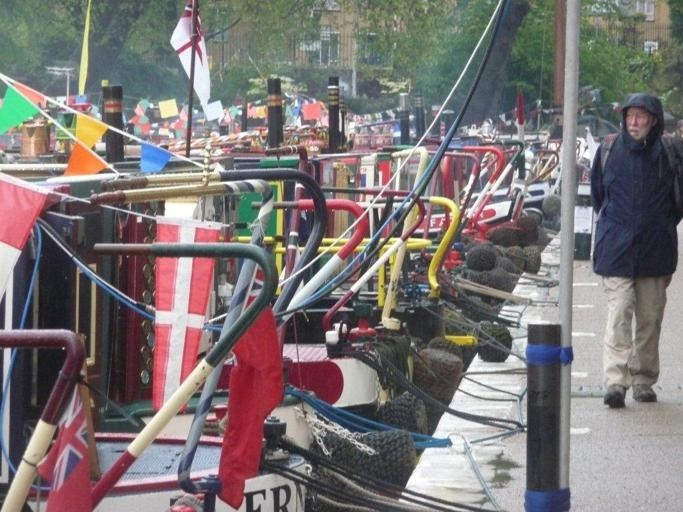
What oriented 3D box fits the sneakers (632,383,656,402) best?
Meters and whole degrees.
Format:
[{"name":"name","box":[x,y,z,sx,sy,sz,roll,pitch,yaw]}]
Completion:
[{"name":"sneakers","box":[3.781,1.704,24.117,0.259,0.277,0.169,5,-18,-2]}]

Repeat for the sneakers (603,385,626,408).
[{"name":"sneakers","box":[3.388,1.727,23.946,0.209,0.281,0.280,-5,-15,39]}]

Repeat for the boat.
[{"name":"boat","box":[-0.348,0.760,23.348,6.193,3.609,6.414,1,5,5]}]
